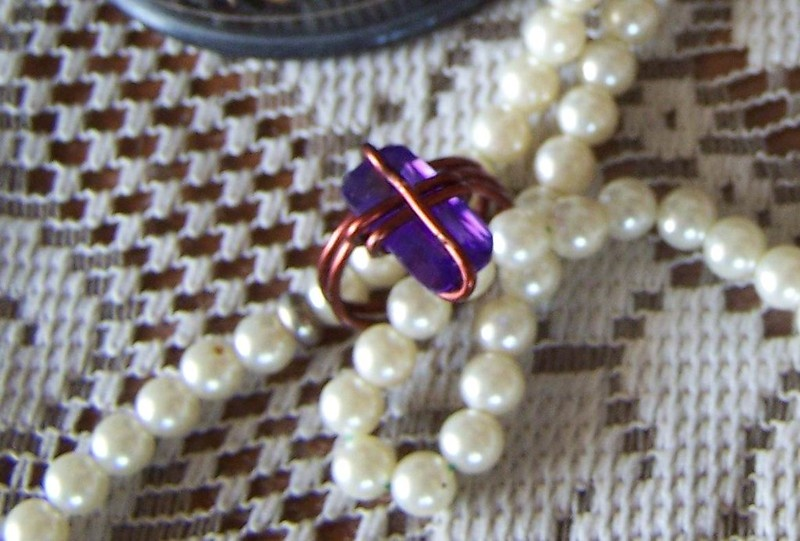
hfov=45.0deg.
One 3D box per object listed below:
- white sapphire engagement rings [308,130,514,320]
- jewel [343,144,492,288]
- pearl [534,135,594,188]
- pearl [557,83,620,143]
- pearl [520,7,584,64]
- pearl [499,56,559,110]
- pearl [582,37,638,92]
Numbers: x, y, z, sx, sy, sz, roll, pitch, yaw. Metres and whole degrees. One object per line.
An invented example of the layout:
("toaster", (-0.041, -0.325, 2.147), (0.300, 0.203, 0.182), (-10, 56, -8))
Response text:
("white sapphire engagement rings", (0.011, -0.041, 0.774), (0.119, 0.153, 0.124), (-2, 60, 4))
("jewel", (0.014, -0.037, 0.712), (0.070, 0.029, 0.129), (-40, 102, -8))
("pearl", (0.132, -0.086, 0.769), (0.032, 0.020, 0.042), (2, 92, 1))
("pearl", (0.153, -0.126, 0.780), (0.051, 0.022, 0.047), (12, 86, 1))
("pearl", (0.123, -0.188, 0.776), (0.037, 0.024, 0.048), (3, 97, 16))
("pearl", (0.104, -0.150, 0.778), (0.036, 0.023, 0.047), (-3, 91, 6))
("pearl", (0.169, -0.167, 0.781), (0.046, 0.015, 0.042), (17, 86, 1))
